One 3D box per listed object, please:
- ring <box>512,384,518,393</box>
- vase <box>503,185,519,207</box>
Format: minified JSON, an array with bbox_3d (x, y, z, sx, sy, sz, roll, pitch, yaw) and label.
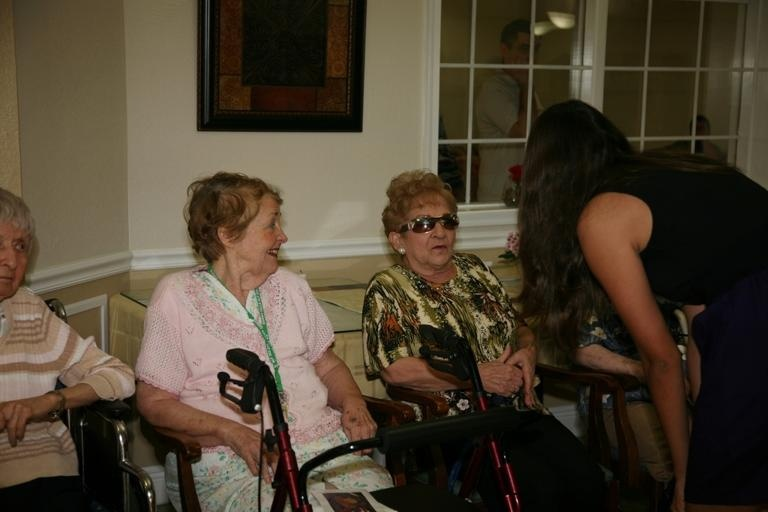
[{"bbox_3d":[0.588,0.587,2.794,0.027,0.034,0.011,-25,16,-24],"label":"ring"},{"bbox_3d":[0.900,-0.414,4.378,0.125,0.129,0.129,2,4,37],"label":"vase"}]
